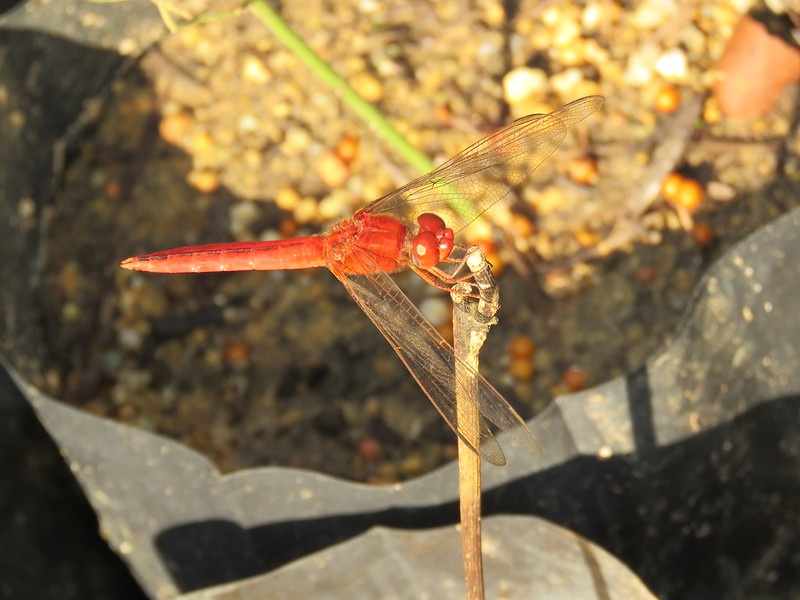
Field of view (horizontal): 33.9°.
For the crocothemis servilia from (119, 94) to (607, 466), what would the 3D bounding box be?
[{"bbox_3d":[0.018,0.023,2.344,0.869,0.233,0.526,-18,86,-2],"label":"crocothemis servilia"}]
